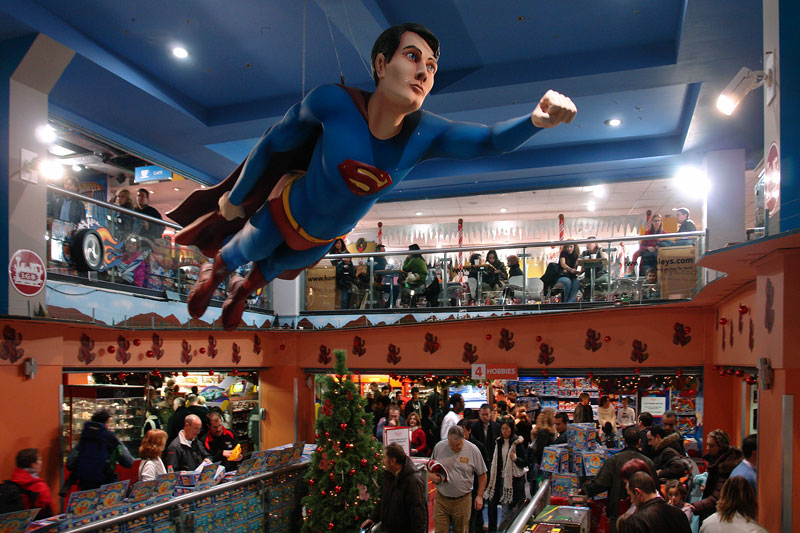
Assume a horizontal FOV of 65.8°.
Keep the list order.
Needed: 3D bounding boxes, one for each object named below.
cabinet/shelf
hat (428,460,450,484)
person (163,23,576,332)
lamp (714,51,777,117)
[{"bbox_3d":[-4.275,2.293,9.012,0.724,1.327,1.415,-4,-8,27],"label":"cabinet/shelf"},{"bbox_3d":[0.499,2.601,7.852,0.211,0.257,0.466,5,-12,-27],"label":"hat"},{"bbox_3d":[-0.523,-0.577,4.770,1.472,0.940,3.744,19,-42,-41],"label":"person"},{"bbox_3d":[3.502,-1.897,6.238,0.539,0.622,0.406,-6,-12,32],"label":"lamp"}]
